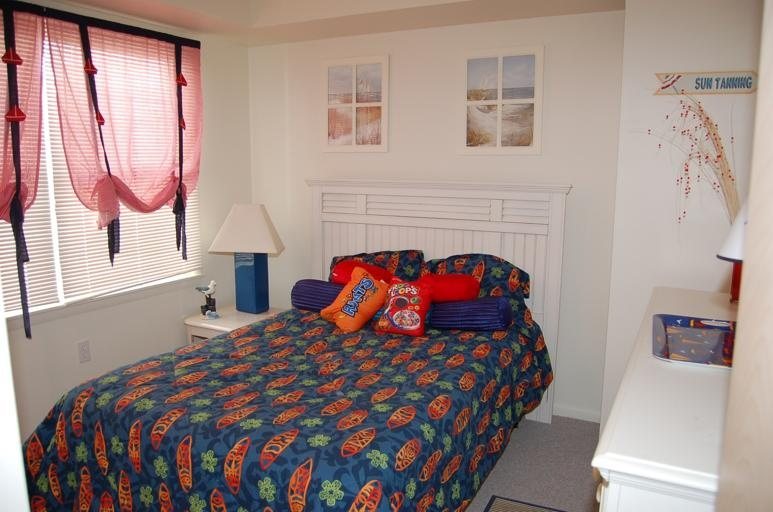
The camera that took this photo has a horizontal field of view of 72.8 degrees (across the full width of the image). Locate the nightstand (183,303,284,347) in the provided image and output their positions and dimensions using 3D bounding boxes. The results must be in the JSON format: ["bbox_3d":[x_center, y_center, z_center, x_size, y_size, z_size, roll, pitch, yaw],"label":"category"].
[{"bbox_3d":[-1.248,0.511,4.107,0.452,0.430,0.399,8,12,35],"label":"nightstand"}]
